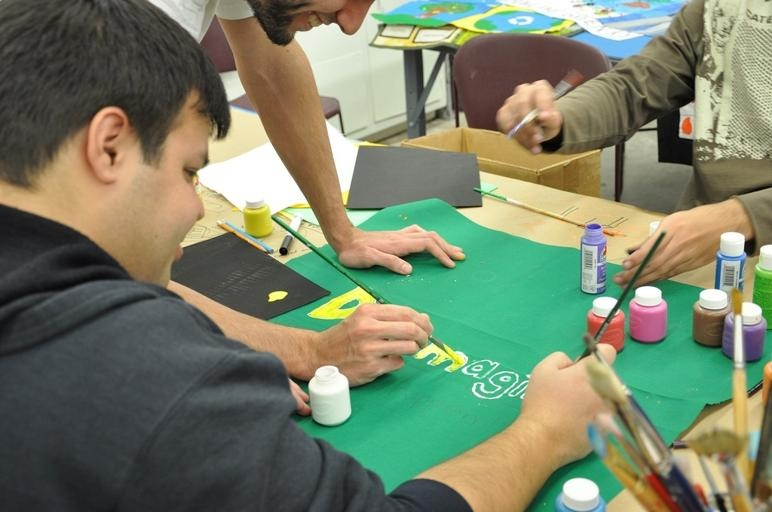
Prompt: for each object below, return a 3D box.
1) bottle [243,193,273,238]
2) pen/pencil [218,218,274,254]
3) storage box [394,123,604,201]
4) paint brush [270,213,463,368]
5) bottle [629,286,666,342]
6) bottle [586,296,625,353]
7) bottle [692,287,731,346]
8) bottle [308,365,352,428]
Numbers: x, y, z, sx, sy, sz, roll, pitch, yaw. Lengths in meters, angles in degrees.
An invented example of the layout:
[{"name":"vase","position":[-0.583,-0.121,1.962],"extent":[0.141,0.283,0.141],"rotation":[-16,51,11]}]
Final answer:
[{"name":"bottle","position":[-0.417,-0.128,1.898],"extent":[0.084,0.120,0.109],"rotation":[-1,30,-3]},{"name":"pen/pencil","position":[-0.439,-0.052,1.849],"extent":[0.173,0.020,0.019],"rotation":[37,78,27]},{"name":"storage box","position":[0.476,-0.378,2.314],"extent":[0.619,0.301,0.384],"rotation":[22,34,38]},{"name":"paint brush","position":[-0.050,0.104,1.563],"extent":[0.644,0.031,0.052],"rotation":[36,19,21]},{"name":"bottle","position":[0.613,0.139,1.373],"extent":[0.078,0.114,0.082],"rotation":[-10,22,4]},{"name":"bottle","position":[0.510,0.160,1.358],"extent":[0.082,0.107,0.093],"rotation":[7,25,34]},{"name":"bottle","position":[0.739,0.141,1.331],"extent":[0.073,0.112,0.075],"rotation":[-9,24,4]},{"name":"bottle","position":[-0.122,0.301,1.263],"extent":[0.087,0.110,0.092],"rotation":[-3,17,1]}]
